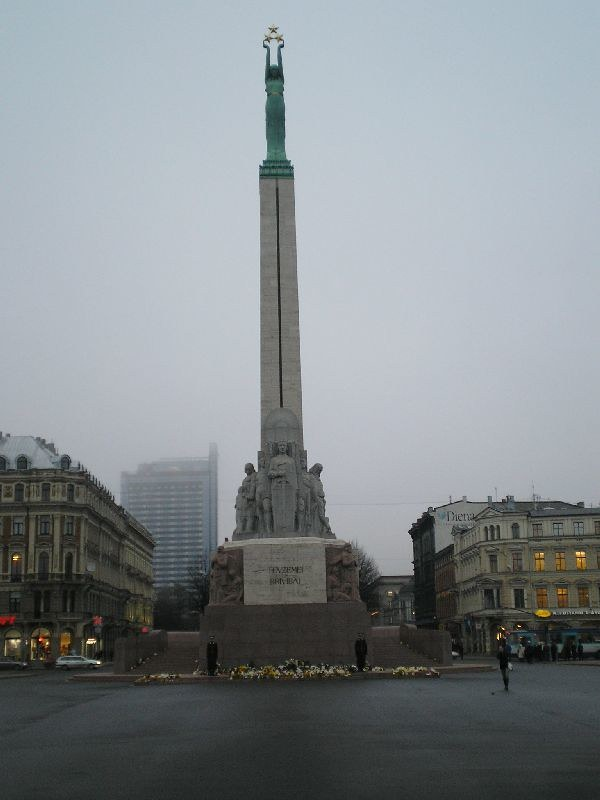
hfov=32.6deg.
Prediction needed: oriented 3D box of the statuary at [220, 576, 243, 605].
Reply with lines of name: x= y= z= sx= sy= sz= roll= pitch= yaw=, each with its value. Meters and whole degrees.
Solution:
statuary: x=-2.370 y=6.784 z=36.321 sx=0.691 sy=0.973 sz=0.779 roll=-1 pitch=-15 yaw=-6

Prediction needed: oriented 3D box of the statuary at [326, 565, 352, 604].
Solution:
statuary: x=1.408 y=6.582 z=36.333 sx=0.893 sy=1.149 sz=0.811 roll=-4 pitch=-15 yaw=4

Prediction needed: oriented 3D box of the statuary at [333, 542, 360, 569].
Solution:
statuary: x=1.629 y=5.705 z=37.347 sx=0.702 sy=0.953 sz=1.132 roll=-5 pitch=-15 yaw=8

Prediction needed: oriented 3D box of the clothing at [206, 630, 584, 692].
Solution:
clothing: x=2.072 y=8.447 z=33.546 sx=9.953 sy=1.452 sz=5.069 roll=8 pitch=-18 yaw=-36

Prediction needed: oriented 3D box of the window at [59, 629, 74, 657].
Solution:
window: x=-19.035 y=19.717 z=83.294 sx=0.509 sy=1.973 sz=1.235 roll=-14 pitch=-18 yaw=35
